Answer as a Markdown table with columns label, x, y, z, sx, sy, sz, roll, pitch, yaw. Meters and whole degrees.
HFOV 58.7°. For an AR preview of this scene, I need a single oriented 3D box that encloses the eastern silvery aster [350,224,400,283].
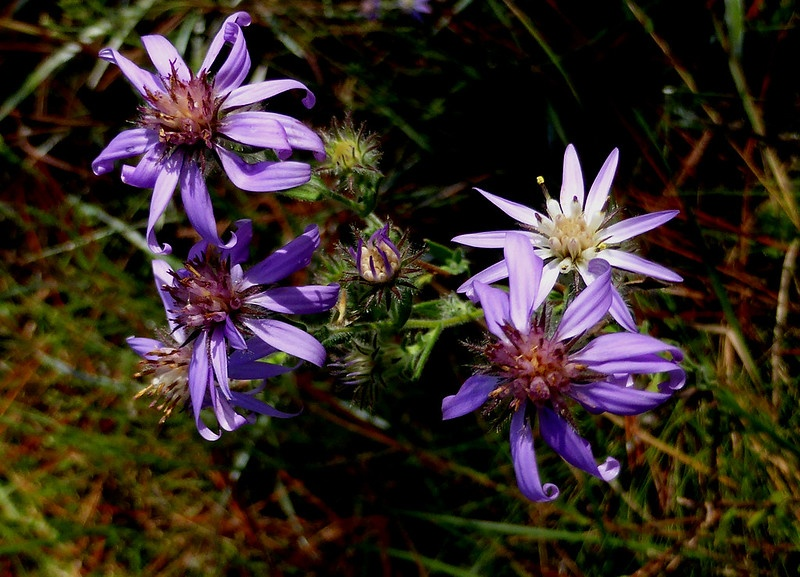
| label | x | y | z | sx | sy | sz | roll | pitch | yaw |
| --- | --- | --- | --- | --- | --- | --- | --- | --- | --- |
| eastern silvery aster | -0.157 | -0.235 | 4.501 | 0.312 | 0.306 | 0.277 | 12 | 7 | -32 |

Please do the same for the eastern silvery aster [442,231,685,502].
| label | x | y | z | sx | sy | sz | roll | pitch | yaw |
| --- | --- | --- | --- | --- | --- | --- | --- | --- | --- |
| eastern silvery aster | 0.910 | 0.502 | 4.091 | 1.174 | 1.419 | 0.438 | 17 | 6 | 13 |
